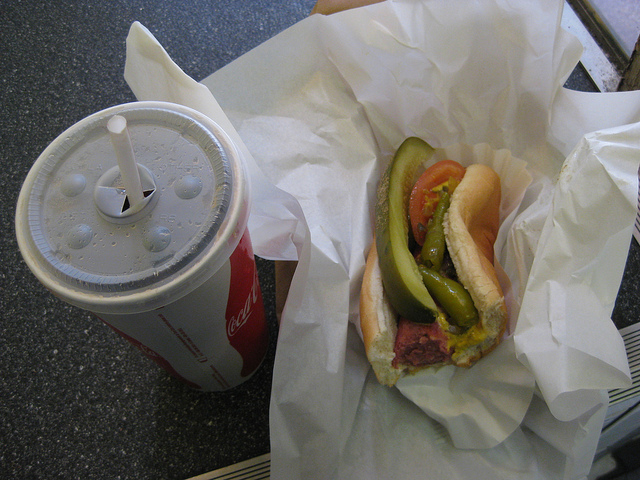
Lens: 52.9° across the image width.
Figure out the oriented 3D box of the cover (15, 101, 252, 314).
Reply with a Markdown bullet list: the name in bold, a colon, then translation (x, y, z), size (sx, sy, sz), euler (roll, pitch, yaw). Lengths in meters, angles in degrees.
- **cover**: translation (-0.268, -0.007, 0.960), size (0.271, 0.179, 0.314), euler (-1, 74, 0)

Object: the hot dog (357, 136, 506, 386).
- **hot dog**: translation (0.212, 0.023, 1.167), size (0.251, 0.148, 0.490), euler (-13, 42, 17)

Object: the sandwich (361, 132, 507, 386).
- **sandwich**: translation (0.189, 0.038, 1.079), size (0.220, 0.144, 0.452), euler (-1, 67, 16)

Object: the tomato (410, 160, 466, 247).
- **tomato**: translation (0.198, -0.080, 1.165), size (0.063, 0.145, 0.109), euler (12, 25, 16)

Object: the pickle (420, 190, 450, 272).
- **pickle**: translation (0.221, -0.040, 1.123), size (0.042, 0.044, 0.163), euler (24, 33, -10)

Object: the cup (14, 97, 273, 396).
- **cup**: translation (-0.241, 0.031, 1.018), size (0.301, 0.534, 0.339), euler (4, 53, 13)
